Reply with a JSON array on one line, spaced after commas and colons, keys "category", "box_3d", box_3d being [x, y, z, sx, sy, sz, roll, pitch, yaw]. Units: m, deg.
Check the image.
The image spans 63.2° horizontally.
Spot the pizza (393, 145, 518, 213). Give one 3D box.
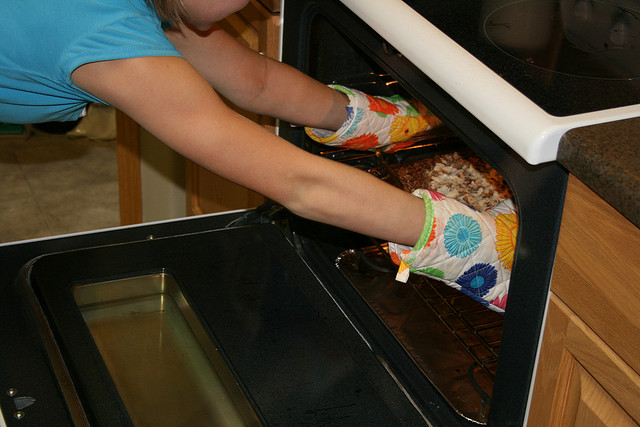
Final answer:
[{"category": "pizza", "box_3d": [0.337, -0.073, 1.203, 0.194, 0.025, 0.186, -19, 51, -14]}]

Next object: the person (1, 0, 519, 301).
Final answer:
[{"category": "person", "box_3d": [0.003, -0.047, 0.980, 1.008, 0.428, 0.532, 5, 28, -30]}]
